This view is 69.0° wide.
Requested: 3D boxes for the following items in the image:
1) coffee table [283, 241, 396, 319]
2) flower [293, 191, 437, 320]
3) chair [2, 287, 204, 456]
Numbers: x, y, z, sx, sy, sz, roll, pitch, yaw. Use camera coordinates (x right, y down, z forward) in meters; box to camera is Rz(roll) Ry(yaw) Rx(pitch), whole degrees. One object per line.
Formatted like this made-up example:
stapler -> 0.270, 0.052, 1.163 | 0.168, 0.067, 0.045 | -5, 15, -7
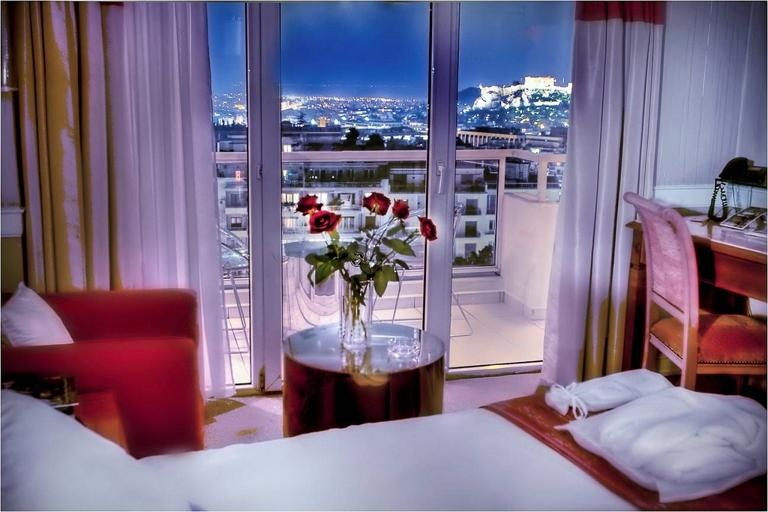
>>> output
coffee table -> -0.309, 0.196, 3.639 | 0.727, 0.507, 0.789 | -5, -10, 29
flower -> -0.064, 0.042, 2.766 | 0.633, 0.672, 0.642 | -6, 3, 12
chair -> -1.195, 0.496, 2.578 | 0.737, 0.604, 0.781 | -1, 14, -18
